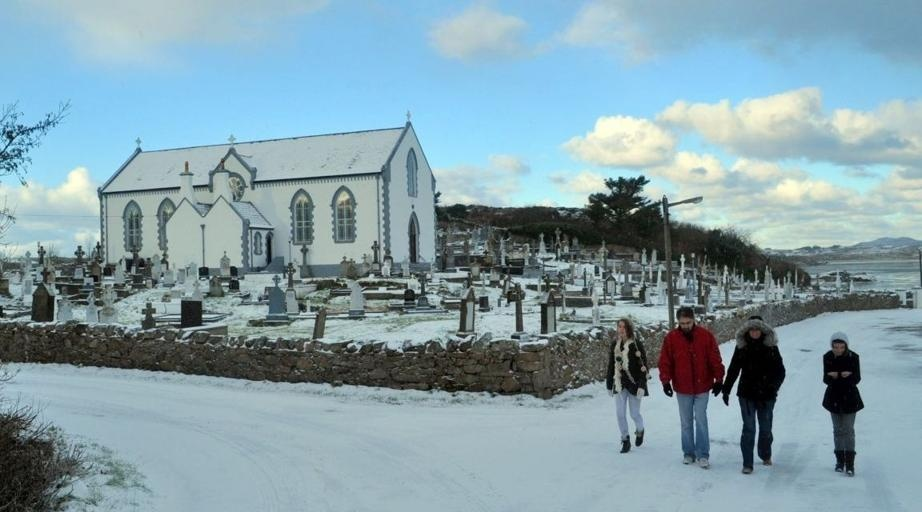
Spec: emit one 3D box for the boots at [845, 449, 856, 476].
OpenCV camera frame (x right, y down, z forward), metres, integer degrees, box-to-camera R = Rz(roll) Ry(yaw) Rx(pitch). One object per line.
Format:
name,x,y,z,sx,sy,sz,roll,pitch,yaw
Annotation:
boots,10.096,5.324,19.476,0.247,0.607,0.483,8,15,29

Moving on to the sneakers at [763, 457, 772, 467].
sneakers,8.045,5.411,19.731,0.236,0.206,0.140,-3,3,10

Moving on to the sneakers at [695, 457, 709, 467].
sneakers,6.357,5.451,19.800,0.203,0.135,0.337,-1,-7,-8

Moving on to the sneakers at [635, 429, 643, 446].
sneakers,4.929,4.985,20.817,0.174,0.514,0.226,2,-2,17

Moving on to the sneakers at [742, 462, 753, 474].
sneakers,7.446,5.509,19.502,0.277,0.232,0.169,2,13,10

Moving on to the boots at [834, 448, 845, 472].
boots,9.831,5.316,19.504,0.280,0.523,0.233,12,18,41
